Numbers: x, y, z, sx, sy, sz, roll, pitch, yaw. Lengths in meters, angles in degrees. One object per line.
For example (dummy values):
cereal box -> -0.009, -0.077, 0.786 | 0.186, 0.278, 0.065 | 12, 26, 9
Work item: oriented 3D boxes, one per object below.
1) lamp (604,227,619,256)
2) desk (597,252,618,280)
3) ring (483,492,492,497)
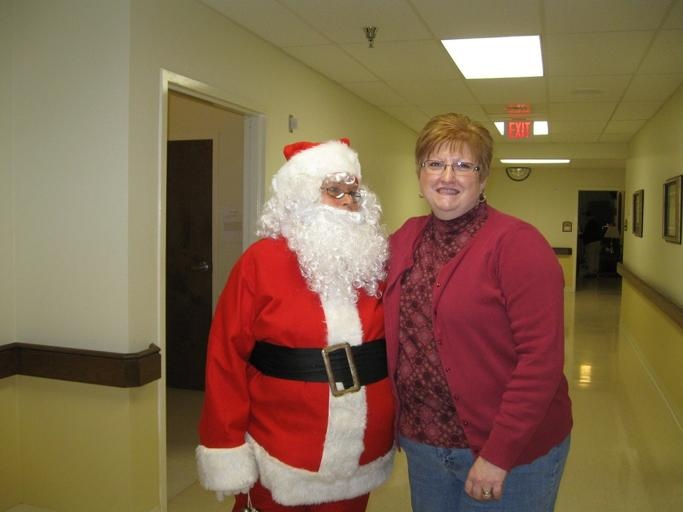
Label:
lamp -> 8.116, -0.474, 14.771 | 0.370, 0.866, 1.149 | 3, 6, 29
desk -> 8.013, 0.275, 14.870 | 0.656, 1.006, 0.697 | 1, -5, 11
ring -> 0.483, 0.777, 1.627 | 0.021, 0.016, 0.022 | 3, -11, 1
